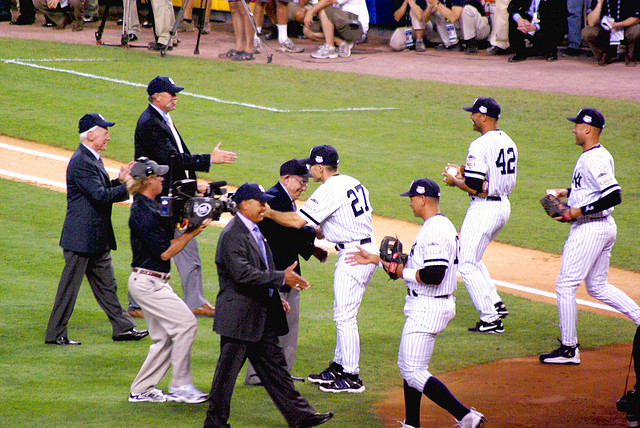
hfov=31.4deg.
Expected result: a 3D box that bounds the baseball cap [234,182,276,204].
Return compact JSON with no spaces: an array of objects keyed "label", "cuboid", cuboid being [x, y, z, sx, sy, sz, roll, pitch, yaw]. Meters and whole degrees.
[{"label":"baseball cap","cuboid":[-0.931,-0.299,15.700,0.465,0.193,0.270,2,8,3]}]

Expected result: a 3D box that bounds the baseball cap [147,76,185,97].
[{"label":"baseball cap","cuboid":[-2.376,-1.957,17.257,0.477,0.189,0.274,-2,13,-4]}]

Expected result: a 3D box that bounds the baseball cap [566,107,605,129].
[{"label":"baseball cap","cuboid":[4.091,-1.466,17.280,0.510,0.193,0.310,17,16,16]}]

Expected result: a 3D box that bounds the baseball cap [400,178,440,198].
[{"label":"baseball cap","cuboid":[1.432,-0.366,15.955,0.439,0.196,0.268,8,8,15]}]

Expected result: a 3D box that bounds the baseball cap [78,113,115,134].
[{"label":"baseball cap","cuboid":[-3.406,-1.371,17.148,0.502,0.213,0.287,-6,11,-12]}]

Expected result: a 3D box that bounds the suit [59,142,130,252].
[{"label":"suit","cuboid":[-3.503,-0.253,17.030,0.995,1.791,0.869,2,-1,45]}]

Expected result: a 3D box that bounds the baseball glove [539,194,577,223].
[{"label":"baseball glove","cuboid":[3.651,-0.087,17.539,0.441,0.291,0.728,-5,-17,21]}]

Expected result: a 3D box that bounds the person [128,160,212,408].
[{"label":"person","cuboid":[-2.209,0.951,16.209,1.190,3.387,1.368,3,10,-9]}]

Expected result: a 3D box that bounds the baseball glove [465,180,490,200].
[{"label":"baseball glove","cuboid":[2.544,-0.356,17.815,0.363,0.188,0.258,-27,4,-9]}]

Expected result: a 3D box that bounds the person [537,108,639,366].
[{"label":"person","cuboid":[4.106,0.354,17.259,1.381,3.855,1.040,7,11,9]}]

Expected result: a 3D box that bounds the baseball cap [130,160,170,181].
[{"label":"baseball cap","cuboid":[-2.438,-0.632,16.024,0.488,0.159,0.269,-8,23,-4]}]

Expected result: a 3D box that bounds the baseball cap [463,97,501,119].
[{"label":"baseball cap","cuboid":[2.609,-1.667,17.886,0.571,0.264,0.321,16,12,12]}]

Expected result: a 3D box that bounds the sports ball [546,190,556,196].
[{"label":"sports ball","cuboid":[3.605,-0.318,17.525,0.107,0.086,0.095,1,-4,-2]}]

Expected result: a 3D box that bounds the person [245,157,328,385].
[{"label":"person","cuboid":[-0.732,1.070,16.872,1.165,2.713,0.993,-1,36,6]}]

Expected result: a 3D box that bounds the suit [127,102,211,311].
[{"label":"suit","cuboid":[-2.290,-0.023,17.474,1.274,3.307,0.564,3,11,-9]}]

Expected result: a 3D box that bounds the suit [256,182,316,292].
[{"label":"suit","cuboid":[-0.637,0.361,16.842,0.789,1.538,0.879,4,-1,-9]}]

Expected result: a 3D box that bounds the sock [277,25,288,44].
[{"label":"sock","cuboid":[-0.954,-4.600,28.768,0.385,0.512,0.339,2,55,1]}]

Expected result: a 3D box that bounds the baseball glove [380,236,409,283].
[{"label":"baseball glove","cuboid":[1.058,0.648,16.151,0.417,0.609,0.422,5,10,2]}]
